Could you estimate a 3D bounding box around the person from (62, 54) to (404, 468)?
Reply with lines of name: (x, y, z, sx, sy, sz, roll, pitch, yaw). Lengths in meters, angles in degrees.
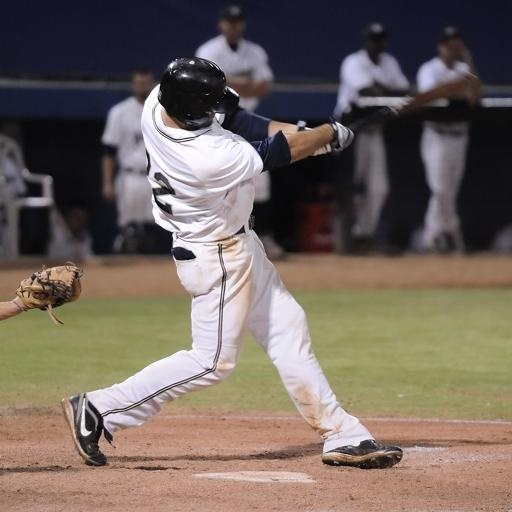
person: (-0.112, 0.028, 3.926, 1.211, 1.520, 0.352, 1, 8, -4)

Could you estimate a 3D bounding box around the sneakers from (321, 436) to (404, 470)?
sneakers: (0.401, 0.726, 3.960, 0.331, 0.100, 0.147, 0, 28, 1)

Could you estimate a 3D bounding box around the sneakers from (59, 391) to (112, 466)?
sneakers: (-0.631, 0.637, 3.987, 0.175, 0.321, 0.113, -22, 7, -2)

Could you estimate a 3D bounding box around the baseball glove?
baseball glove: (-0.762, 0.078, 3.957, 0.276, 0.111, 0.206, 9, 15, 40)

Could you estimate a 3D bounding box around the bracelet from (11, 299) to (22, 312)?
bracelet: (-0.869, 0.178, 3.845, 0.029, 0.034, 0.033, 12, 37, 40)

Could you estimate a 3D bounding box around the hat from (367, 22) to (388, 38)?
hat: (1.017, -1.897, 8.836, 0.171, 0.127, 0.280, 1, 7, 1)
